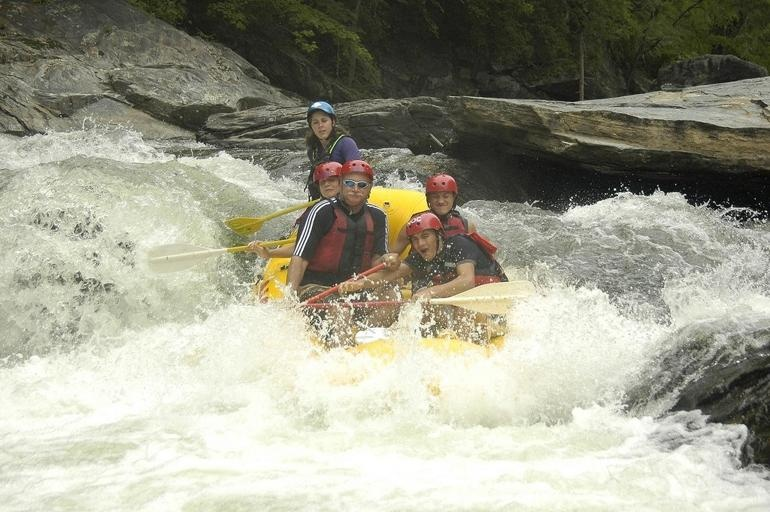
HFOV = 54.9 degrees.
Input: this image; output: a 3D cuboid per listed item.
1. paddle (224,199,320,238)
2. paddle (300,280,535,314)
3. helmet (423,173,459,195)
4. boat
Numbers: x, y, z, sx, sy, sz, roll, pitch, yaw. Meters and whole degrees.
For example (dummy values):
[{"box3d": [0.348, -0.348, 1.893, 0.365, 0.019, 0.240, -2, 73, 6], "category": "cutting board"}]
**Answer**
[{"box3d": [-1.580, -0.492, 10.064, 1.295, 0.181, 0.161, -20, 27, -5], "category": "paddle"}, {"box3d": [0.655, 0.518, 8.134, 1.973, 0.396, 0.318, -3, 12, 2], "category": "paddle"}, {"box3d": [0.662, -0.829, 8.689, 0.300, 0.223, 0.310, 2, 9, 4], "category": "helmet"}, {"box3d": [0.345, 0.212, 8.873, 1.938, 0.852, 2.496, 4, 13, -9], "category": "boat"}]
